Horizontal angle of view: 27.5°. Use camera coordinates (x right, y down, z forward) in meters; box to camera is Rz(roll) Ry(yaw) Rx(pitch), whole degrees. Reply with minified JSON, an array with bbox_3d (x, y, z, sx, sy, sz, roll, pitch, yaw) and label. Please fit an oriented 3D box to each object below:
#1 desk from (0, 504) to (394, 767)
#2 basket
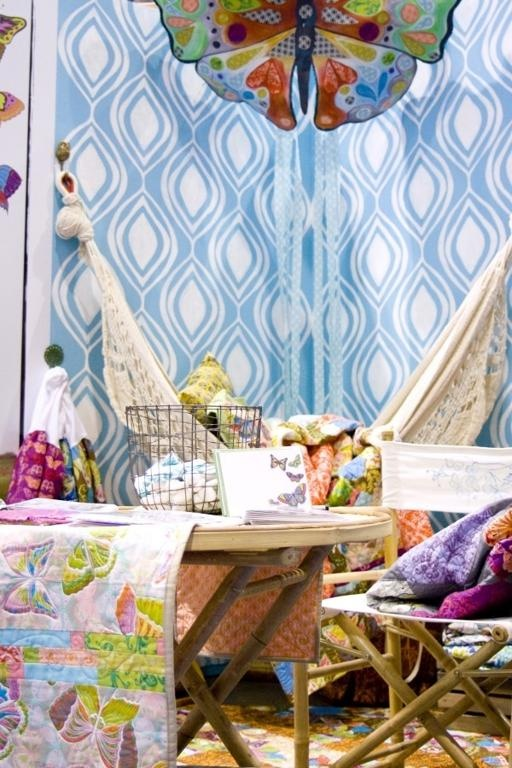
[{"bbox_3d":[-0.067,0.336,1.668,0.519,0.366,0.554,-9,-13,31],"label":"desk"},{"bbox_3d":[-0.099,0.131,1.904,0.232,0.163,0.244,5,-8,-17],"label":"basket"}]
